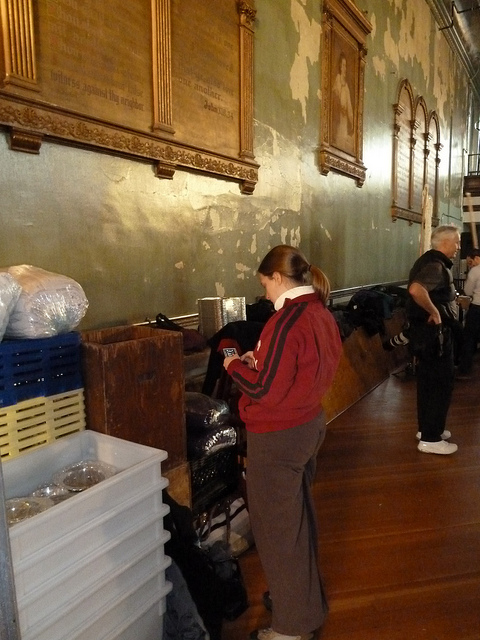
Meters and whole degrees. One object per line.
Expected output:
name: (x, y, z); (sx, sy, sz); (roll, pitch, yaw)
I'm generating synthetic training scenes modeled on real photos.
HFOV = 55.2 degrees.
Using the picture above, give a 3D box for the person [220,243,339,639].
person: (0.143, 0.465, 1.713); (0.436, 1.492, 0.373); (1, 5, 13)

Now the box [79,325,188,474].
box: (-0.491, 0.382, 1.828); (0.432, 0.617, 0.411); (-6, -10, 13)

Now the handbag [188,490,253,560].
handbag: (-0.074, 1.000, 2.407); (0.298, 0.134, 0.401); (7, -11, -26)

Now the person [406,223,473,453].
person: (1.588, 0.154, 3.753); (0.423, 1.865, 0.421); (1, 5, 15)
